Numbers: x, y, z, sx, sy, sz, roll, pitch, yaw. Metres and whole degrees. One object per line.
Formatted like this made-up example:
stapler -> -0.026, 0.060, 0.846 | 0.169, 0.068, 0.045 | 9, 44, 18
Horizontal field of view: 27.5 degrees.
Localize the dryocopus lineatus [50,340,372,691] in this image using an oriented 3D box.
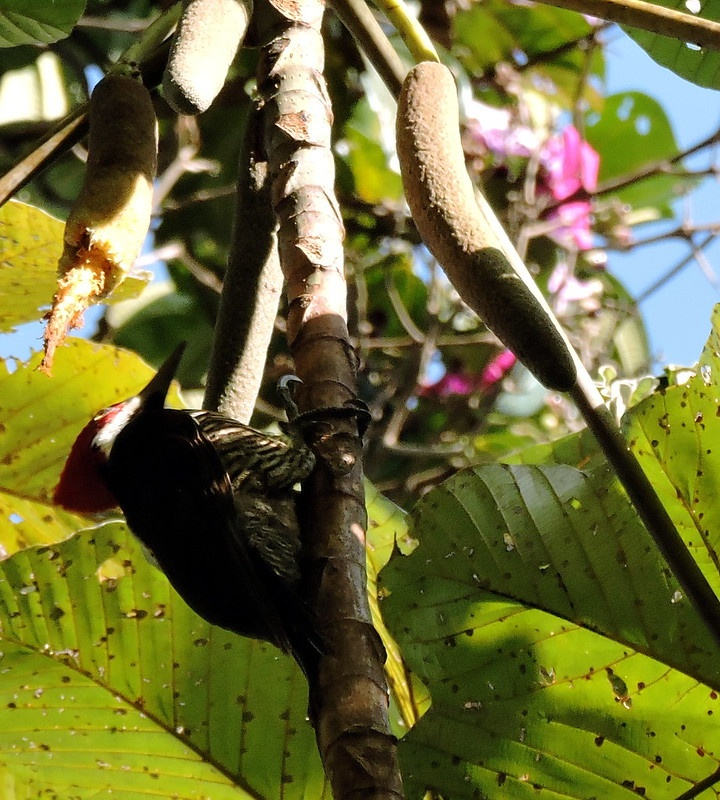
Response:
dryocopus lineatus -> -0.146, 0.084, 1.508 | 0.412, 0.309, 0.141 | -9, -20, 39
